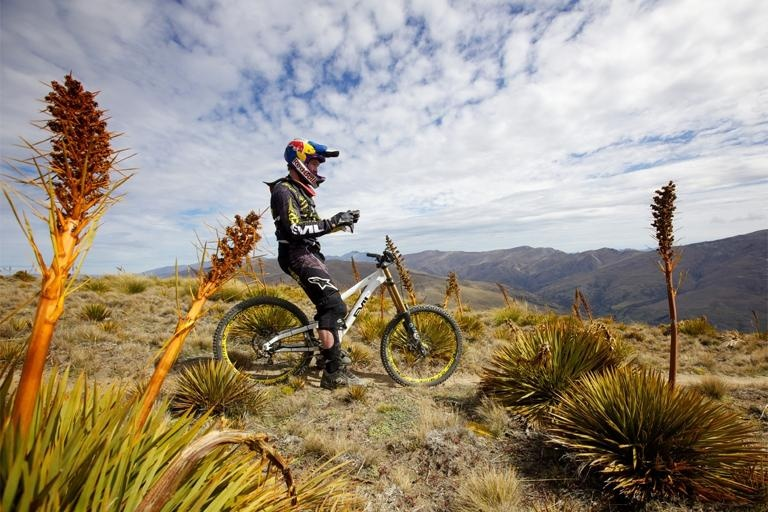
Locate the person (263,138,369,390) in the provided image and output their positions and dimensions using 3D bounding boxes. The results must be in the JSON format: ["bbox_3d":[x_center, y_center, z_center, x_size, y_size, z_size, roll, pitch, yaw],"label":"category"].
[{"bbox_3d":[-0.953,0.104,5.660,1.155,3.446,0.777,-1,-5,-14],"label":"person"}]
